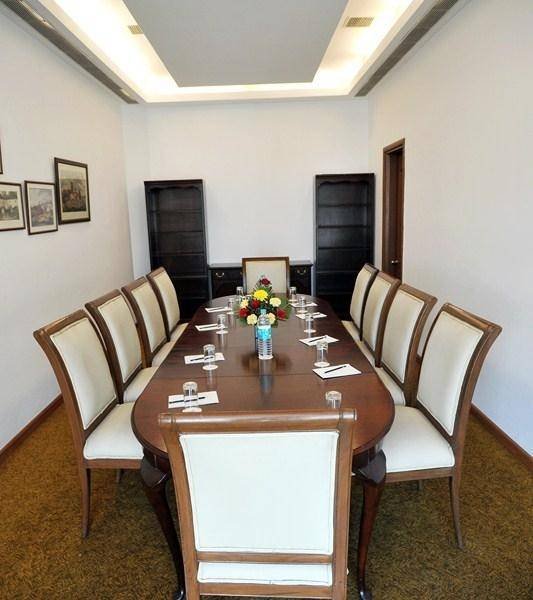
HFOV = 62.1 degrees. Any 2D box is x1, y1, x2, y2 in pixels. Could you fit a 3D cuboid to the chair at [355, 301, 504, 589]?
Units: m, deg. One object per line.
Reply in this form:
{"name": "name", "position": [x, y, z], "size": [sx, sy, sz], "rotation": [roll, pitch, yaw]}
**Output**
{"name": "chair", "position": [0.717, 0.563, 1.918], "size": [0.418, 1.021, 0.597], "rotation": [1, 9, 16]}

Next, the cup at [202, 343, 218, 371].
{"name": "cup", "position": [-0.263, 0.287, 2.230], "size": [0.097, 0.120, 0.100], "rotation": [0, 7, 0]}

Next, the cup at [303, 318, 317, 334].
{"name": "cup", "position": [0.294, 0.176, 3.007], "size": [0.091, 0.098, 0.090], "rotation": [-1, 6, 0]}

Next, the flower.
{"name": "flower", "position": [-0.012, 0.019, 2.652], "size": [0.306, 0.288, 0.308], "rotation": [-17, 23, -40]}

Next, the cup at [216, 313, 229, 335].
{"name": "cup", "position": [-0.292, 0.170, 3.012], "size": [0.103, 0.128, 0.109], "rotation": [0, 4, 0]}

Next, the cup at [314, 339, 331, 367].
{"name": "cup", "position": [0.266, 0.269, 2.227], "size": [0.095, 0.122, 0.099], "rotation": [0, 7, 0]}
